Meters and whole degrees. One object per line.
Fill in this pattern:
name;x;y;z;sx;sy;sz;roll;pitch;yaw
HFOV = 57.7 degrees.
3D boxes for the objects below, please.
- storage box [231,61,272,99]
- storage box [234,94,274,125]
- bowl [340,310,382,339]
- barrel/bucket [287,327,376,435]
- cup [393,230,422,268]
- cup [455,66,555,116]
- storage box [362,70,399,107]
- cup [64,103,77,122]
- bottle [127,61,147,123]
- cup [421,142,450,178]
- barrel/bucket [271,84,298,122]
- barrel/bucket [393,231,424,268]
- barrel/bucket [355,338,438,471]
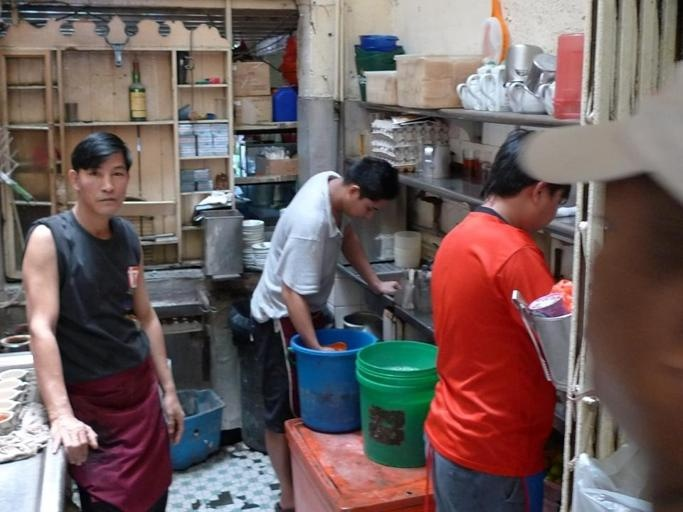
storage box;-0.779;-1.535;5.383;0.307;0.297;0.302;1;22;-3
storage box;-0.749;-1.249;5.305;0.326;0.258;0.236;-3;10;-7
bowl;0.140;0.393;3.679;0.152;0.138;0.181;0;14;-6
barrel/bucket;-0.027;0.572;2.921;0.413;0.370;0.436;-1;5;0
cup;0.386;-0.052;3.939;0.209;0.228;0.206;0;17;0
cup;0.710;-0.706;2.704;0.346;0.143;0.269;-5;16;-15
storage box;0.284;-1.068;3.971;0.202;0.144;0.302;7;10;39
cup;-2.109;-1.125;4.845;0.095;0.147;0.071;-6;11;-23
bottle;-1.641;-1.327;4.977;0.131;0.483;0.171;-6;10;-21
cup;0.579;-0.561;3.687;0.181;0.182;0.193;-4;15;1
barrel/bucket;-0.486;-1.307;5.331;0.263;0.300;0.155;0;10;13
barrel/bucket;0.392;-0.050;3.929;0.213;0.233;0.210;0;16;0
barrel/bucket;0.162;0.567;2.561;0.433;0.454;0.443;-1;13;0
